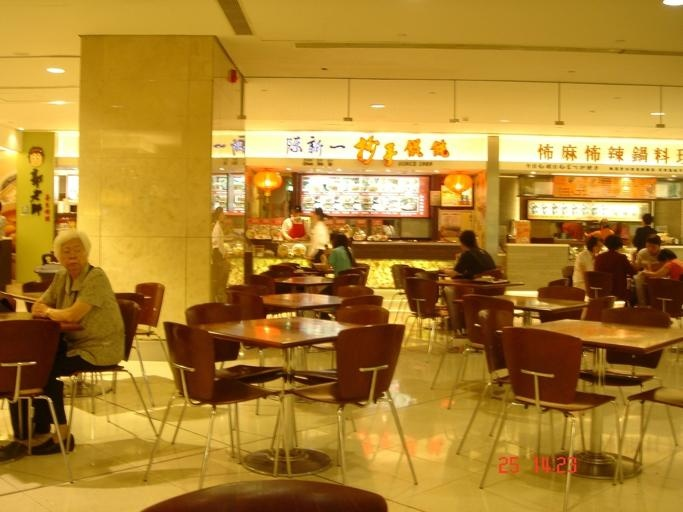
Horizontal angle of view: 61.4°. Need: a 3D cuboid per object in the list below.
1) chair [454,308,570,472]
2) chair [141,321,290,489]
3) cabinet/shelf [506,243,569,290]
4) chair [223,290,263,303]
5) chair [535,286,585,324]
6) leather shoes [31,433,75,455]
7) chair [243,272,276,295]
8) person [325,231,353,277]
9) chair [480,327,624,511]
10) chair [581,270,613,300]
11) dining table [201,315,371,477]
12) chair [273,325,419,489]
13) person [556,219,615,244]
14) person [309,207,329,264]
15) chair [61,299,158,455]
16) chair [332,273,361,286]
[{"bbox_3d":[1.277,0.950,4.142,0.708,0.867,0.593,13,-5,23],"label":"chair"},{"bbox_3d":[-0.744,0.960,3.751,0.790,0.989,0.757,9,-7,-38],"label":"chair"},{"bbox_3d":[4.376,0.225,12.852,1.324,0.789,0.648,0,0,0],"label":"cabinet/shelf"},{"bbox_3d":[-0.980,0.391,5.552,0.258,0.156,0.233,-2,1,6],"label":"chair"},{"bbox_3d":[2.245,0.475,5.993,0.447,0.516,0.472,3,-3,-14],"label":"chair"},{"bbox_3d":[-2.094,1.358,4.138,0.293,0.086,0.129,3,-5,-8],"label":"leather shoes"},{"bbox_3d":[-0.959,0.319,6.712,0.290,0.277,0.253,0,2,12],"label":"chair"},{"bbox_3d":[-0.005,-0.028,8.277,0.370,0.598,0.921,1,4,0],"label":"person"},{"bbox_3d":[1.327,0.942,3.695,0.686,1.045,0.858,4,5,34],"label":"chair"},{"bbox_3d":[3.594,0.421,8.036,0.458,0.401,0.370,1,1,-39],"label":"chair"},{"bbox_3d":[-0.386,0.948,3.885,1.084,0.903,1.101,0,-1,43],"label":"dining table"},{"bbox_3d":[0.118,0.932,3.665,0.631,1.028,0.603,4,6,37],"label":"chair"},{"bbox_3d":[5.557,-0.560,13.221,0.959,0.532,0.473,0,-4,12],"label":"person"},{"bbox_3d":[-0.406,-0.354,10.153,0.383,0.949,0.470,1,5,-3],"label":"person"},{"bbox_3d":[-1.830,0.880,4.654,0.803,0.906,0.736,-10,10,-31],"label":"chair"},{"bbox_3d":[0.069,0.299,7.217,0.140,0.129,0.490,4,5,38],"label":"chair"}]
